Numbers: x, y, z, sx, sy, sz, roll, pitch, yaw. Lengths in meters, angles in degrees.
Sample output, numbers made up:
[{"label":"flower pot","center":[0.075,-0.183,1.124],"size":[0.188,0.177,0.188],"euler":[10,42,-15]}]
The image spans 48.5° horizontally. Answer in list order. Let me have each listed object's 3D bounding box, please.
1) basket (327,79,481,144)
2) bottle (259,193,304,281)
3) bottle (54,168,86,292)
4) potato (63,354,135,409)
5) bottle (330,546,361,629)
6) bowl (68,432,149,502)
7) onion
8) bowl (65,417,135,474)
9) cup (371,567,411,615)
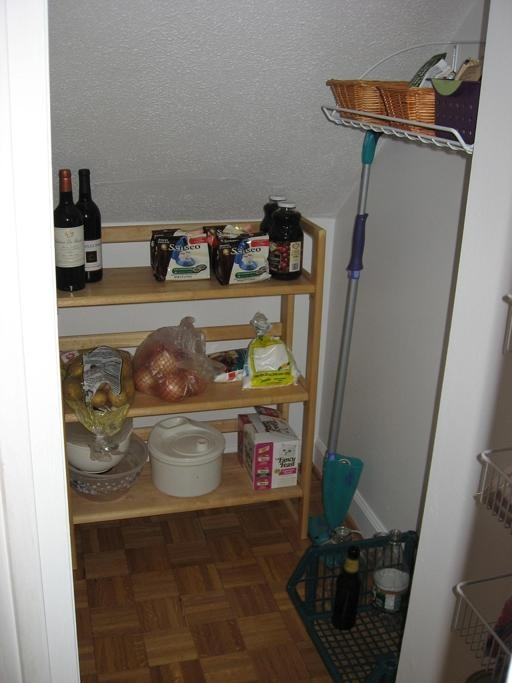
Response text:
[{"label":"basket","center":[0.286,-0.417,1.075],"size":[0.182,0.074,0.288],"euler":[-5,20,-16]},{"label":"bottle","center":[0.074,-0.311,1.725],"size":[0.162,0.272,0.167],"euler":[-1,33,1]},{"label":"bottle","center":[-0.487,-0.285,1.490],"size":[0.095,0.320,0.072],"euler":[-12,23,-34]},{"label":"potato","center":[-0.461,0.101,1.662],"size":[0.203,0.136,0.231],"euler":[-4,20,-16]},{"label":"bottle","center":[0.259,0.663,1.592],"size":[0.070,0.271,0.134],"euler":[6,19,12]},{"label":"bowl","center":[-0.461,0.375,1.825],"size":[0.200,0.091,0.197],"euler":[0,13,0]},{"label":"onion","center":[-0.256,0.096,1.718],"size":[0.201,0.157,0.088],"euler":[14,-8,-4]},{"label":"bowl","center":[-0.486,0.327,1.745],"size":[0.197,0.144,0.181],"euler":[1,19,0]},{"label":"cup","center":[0.378,0.698,1.600],"size":[0.100,0.127,0.073],"euler":[-1,19,-6]}]
